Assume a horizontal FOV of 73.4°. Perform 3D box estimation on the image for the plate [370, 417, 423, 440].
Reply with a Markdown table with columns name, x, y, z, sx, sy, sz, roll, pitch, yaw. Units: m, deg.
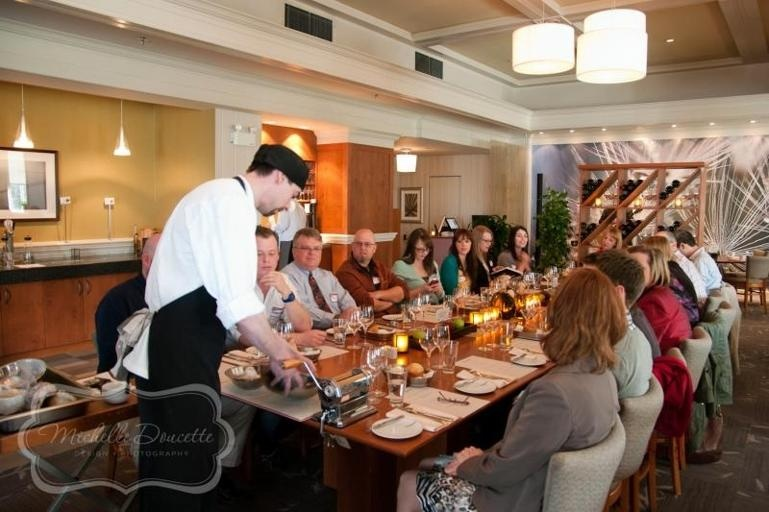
| name | x | y | z | sx | sy | sz | roll | pitch | yaw |
| --- | --- | --- | --- | --- | --- | --- | --- | --- | --- |
| plate | 0.072 | 0.890 | 2.628 | 0.258 | 0.062 | 0.158 | -4 | 3 | -23 |

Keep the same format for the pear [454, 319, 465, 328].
| name | x | y | z | sx | sy | sz | roll | pitch | yaw |
| --- | --- | --- | --- | --- | --- | --- | --- | --- | --- |
| pear | 0.601 | 0.539 | 4.124 | 0.066 | 0.065 | 0.064 | 24 | -9 | 41 |

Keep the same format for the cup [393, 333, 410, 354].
| name | x | y | z | sx | sy | sz | roll | pitch | yaw |
| --- | --- | --- | --- | --- | --- | --- | --- | --- | --- |
| cup | 0.108 | 0.624 | 3.661 | 0.114 | 0.128 | 0.113 | 0 | 3 | 0 |

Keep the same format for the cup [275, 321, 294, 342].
| name | x | y | z | sx | sy | sz | roll | pitch | yaw |
| --- | --- | --- | --- | --- | --- | --- | --- | --- | --- |
| cup | -0.653 | 0.494 | 3.396 | 0.122 | 0.120 | 0.123 | 0 | 5 | 0 |

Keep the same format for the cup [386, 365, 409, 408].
| name | x | y | z | sx | sy | sz | roll | pitch | yaw |
| --- | --- | --- | --- | --- | --- | --- | --- | --- | --- |
| cup | 0.072 | 0.731 | 2.917 | 0.109 | 0.206 | 0.157 | -2 | 3 | 1 |

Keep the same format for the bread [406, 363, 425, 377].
| name | x | y | z | sx | sy | sz | roll | pitch | yaw |
| --- | --- | --- | --- | --- | --- | --- | --- | --- | --- |
| bread | 0.186 | 0.693 | 3.102 | 0.086 | 0.067 | 0.065 | 6 | -24 | -35 |

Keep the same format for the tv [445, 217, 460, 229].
| name | x | y | z | sx | sy | sz | roll | pitch | yaw |
| --- | --- | --- | --- | --- | --- | --- | --- | --- | --- |
| tv | 1.509 | -0.729 | 11.567 | 0.100 | 0.344 | 0.367 | -15 | -12 | 42 |

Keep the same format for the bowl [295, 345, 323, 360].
| name | x | y | z | sx | sy | sz | roll | pitch | yaw |
| --- | --- | --- | --- | --- | --- | --- | --- | --- | --- |
| bowl | -0.483 | 0.638 | 3.395 | 0.123 | 0.052 | 0.128 | 2 | -5 | 0 |

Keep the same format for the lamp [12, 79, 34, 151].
| name | x | y | z | sx | sy | sz | roll | pitch | yaw |
| --- | --- | --- | --- | --- | --- | --- | --- | --- | --- |
| lamp | -4.340 | -1.696 | 6.143 | 0.212 | 0.808 | 0.679 | -5 | 4 | -34 |

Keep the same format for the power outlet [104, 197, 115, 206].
| name | x | y | z | sx | sy | sz | roll | pitch | yaw |
| --- | --- | --- | --- | --- | --- | --- | --- | --- | --- |
| power outlet | -3.781 | -0.745 | 7.121 | 0.148 | 0.145 | 0.105 | 3 | 10 | 17 |

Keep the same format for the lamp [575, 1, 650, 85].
| name | x | y | z | sx | sy | sz | roll | pitch | yaw |
| --- | --- | --- | --- | --- | --- | --- | --- | --- | --- |
| lamp | 1.811 | -1.744 | 4.120 | 0.502 | 0.605 | 0.515 | -1 | 3 | 24 |

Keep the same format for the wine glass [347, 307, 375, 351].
| name | x | y | z | sx | sy | sz | roll | pitch | yaw |
| --- | --- | --- | --- | --- | --- | --- | --- | --- | --- |
| wine glass | -0.176 | 0.525 | 3.729 | 0.228 | 0.364 | 0.258 | 1 | -9 | 1 |

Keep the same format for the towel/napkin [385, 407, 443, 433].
| name | x | y | z | sx | sy | sz | roll | pitch | yaw |
| --- | --- | --- | --- | --- | --- | --- | --- | --- | --- |
| towel/napkin | 0.188 | 0.869 | 2.725 | 0.182 | 0.021 | 0.114 | 10 | 8 | 23 |

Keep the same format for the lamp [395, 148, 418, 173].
| name | x | y | z | sx | sy | sz | roll | pitch | yaw |
| --- | --- | --- | --- | --- | --- | --- | --- | --- | --- |
| lamp | 0.423 | -1.999 | 10.781 | 0.536 | 0.518 | 0.541 | -1 | 3 | 9 |

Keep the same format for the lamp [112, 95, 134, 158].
| name | x | y | z | sx | sy | sz | roll | pitch | yaw |
| --- | --- | --- | --- | --- | --- | --- | --- | --- | --- |
| lamp | -3.565 | -1.756 | 6.941 | 0.239 | 0.821 | 0.595 | -4 | 4 | -27 |

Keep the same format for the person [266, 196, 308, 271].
| name | x | y | z | sx | sy | sz | roll | pitch | yaw |
| --- | --- | --- | --- | --- | --- | --- | --- | --- | --- |
| person | -1.026 | -0.206 | 5.375 | 0.310 | 0.370 | 0.996 | -11 | 25 | 15 |

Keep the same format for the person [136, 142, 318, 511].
| name | x | y | z | sx | sy | sz | roll | pitch | yaw |
| --- | --- | --- | --- | --- | --- | --- | --- | --- | --- |
| person | -0.824 | 0.357 | 2.543 | 0.880 | 1.837 | 0.474 | -4 | 4 | -21 |

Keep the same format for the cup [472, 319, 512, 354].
| name | x | y | z | sx | sy | sz | roll | pitch | yaw |
| --- | --- | --- | --- | --- | --- | --- | --- | --- | --- |
| cup | 0.819 | 0.612 | 3.886 | 0.183 | 0.278 | 0.275 | 0 | -7 | 5 |

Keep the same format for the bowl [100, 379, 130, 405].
| name | x | y | z | sx | sy | sz | roll | pitch | yaw |
| --- | --- | --- | --- | --- | --- | --- | --- | --- | --- |
| bowl | -1.466 | 0.735 | 2.825 | 0.116 | 0.049 | 0.125 | 5 | 16 | -1 |

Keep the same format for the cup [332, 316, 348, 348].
| name | x | y | z | sx | sy | sz | roll | pitch | yaw |
| --- | --- | --- | --- | --- | --- | --- | --- | --- | --- |
| cup | -0.320 | 0.563 | 3.783 | 0.169 | 0.269 | 0.170 | 0 | 3 | 0 |

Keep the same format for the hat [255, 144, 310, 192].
| name | x | y | z | sx | sy | sz | roll | pitch | yaw |
| --- | --- | --- | --- | --- | --- | --- | --- | --- | --- |
| hat | -0.517 | -0.473 | 2.685 | 0.272 | 0.153 | 0.206 | 26 | 12 | -25 |
